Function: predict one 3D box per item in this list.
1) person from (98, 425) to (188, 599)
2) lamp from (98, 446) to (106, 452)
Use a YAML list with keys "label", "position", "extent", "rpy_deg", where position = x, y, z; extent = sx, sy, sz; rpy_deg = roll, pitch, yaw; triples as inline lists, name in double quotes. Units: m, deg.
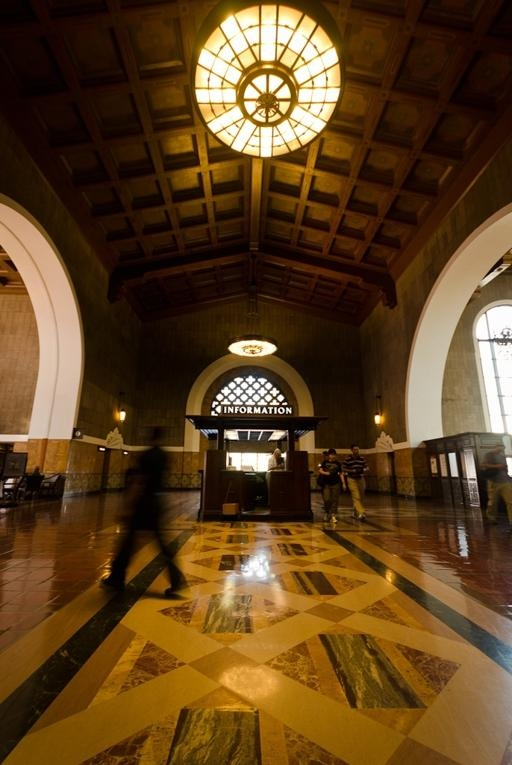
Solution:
- label: "person"
  position: [-0.888, 0.922, 3.535]
  extent: [0.555, 1.153, 1.589]
  rpy_deg: [3, -10, -14]
- label: "lamp"
  position: [-4.161, 1.690, 11.518]
  extent: [0.108, 0.135, 0.207]
  rpy_deg: [19, -5, 23]
